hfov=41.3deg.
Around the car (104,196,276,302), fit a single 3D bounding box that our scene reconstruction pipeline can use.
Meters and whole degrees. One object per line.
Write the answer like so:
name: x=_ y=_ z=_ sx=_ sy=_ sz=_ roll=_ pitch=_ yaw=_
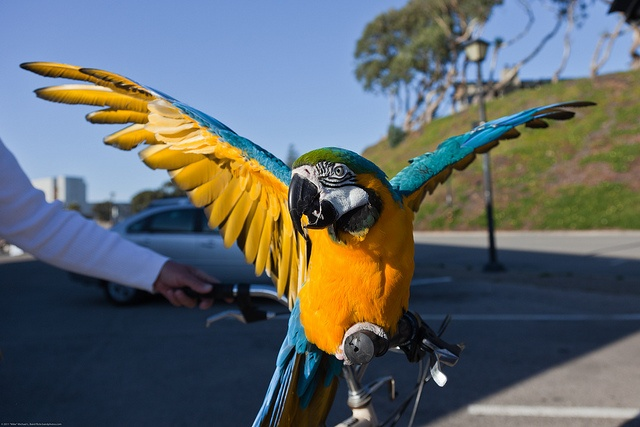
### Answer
car: x=-1.404 y=0.286 z=9.469 sx=1.638 sy=0.821 sz=0.894 roll=-2 pitch=-6 yaw=-2
